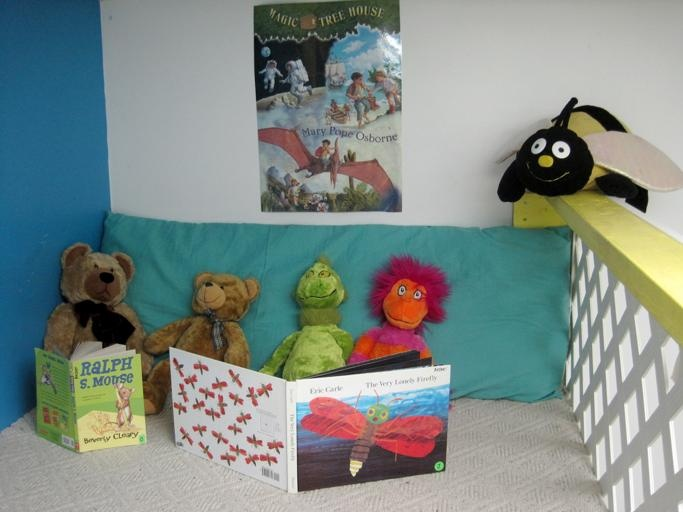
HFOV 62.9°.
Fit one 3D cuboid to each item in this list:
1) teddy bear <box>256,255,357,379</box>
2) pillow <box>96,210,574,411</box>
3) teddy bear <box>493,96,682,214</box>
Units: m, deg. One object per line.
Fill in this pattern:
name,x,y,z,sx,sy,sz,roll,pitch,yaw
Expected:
teddy bear,-0.130,0.252,2.153,0.364,0.465,0.189,-4,-20,19
pillow,0.009,0.230,2.130,1.699,0.692,0.149,-1,-3,7
teddy bear,0.882,-0.343,1.955,0.456,0.263,0.457,11,13,39
